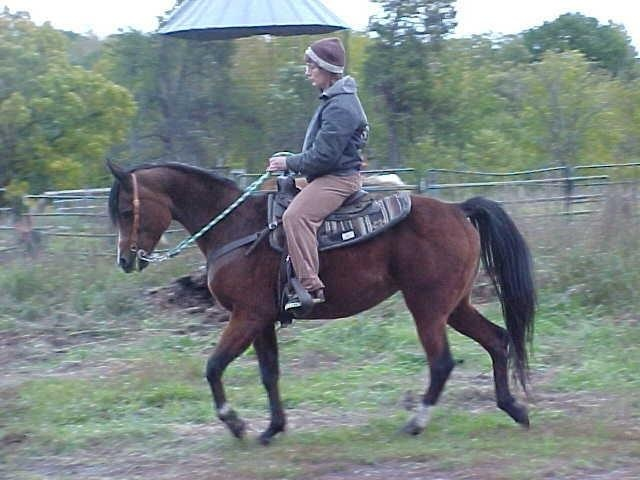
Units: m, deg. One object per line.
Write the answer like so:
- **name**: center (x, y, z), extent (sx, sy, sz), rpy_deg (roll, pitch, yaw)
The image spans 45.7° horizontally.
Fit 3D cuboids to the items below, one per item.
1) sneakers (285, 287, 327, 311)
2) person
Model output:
- **sneakers**: center (-0.132, 0.528, 6.800), extent (0.349, 0.073, 0.265), rpy_deg (-4, 6, 10)
- **person**: center (-0.008, -0.638, 6.976), extent (0.864, 2.509, 0.486), rpy_deg (-2, 6, -32)
